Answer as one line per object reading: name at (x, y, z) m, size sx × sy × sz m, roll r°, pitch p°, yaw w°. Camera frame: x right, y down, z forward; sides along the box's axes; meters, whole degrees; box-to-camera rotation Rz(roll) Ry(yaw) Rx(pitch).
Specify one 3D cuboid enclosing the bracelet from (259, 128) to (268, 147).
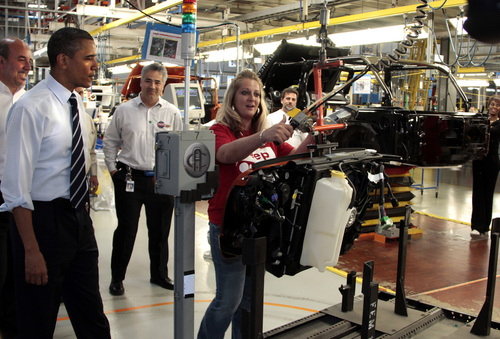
bracelet at (0.085, -0.211, 2.869) m, size 0.032 × 0.088 × 0.077 m, roll 1°, pitch -22°, yaw 9°

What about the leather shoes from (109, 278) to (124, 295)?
leather shoes at (-1.534, 1.359, 4.799) m, size 0.110 × 0.089 × 0.214 m, roll 2°, pitch 14°, yaw -18°

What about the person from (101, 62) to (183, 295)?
person at (-1.250, 0.081, 4.846) m, size 0.834 × 2.706 × 0.513 m, roll -2°, pitch 5°, yaw -19°
